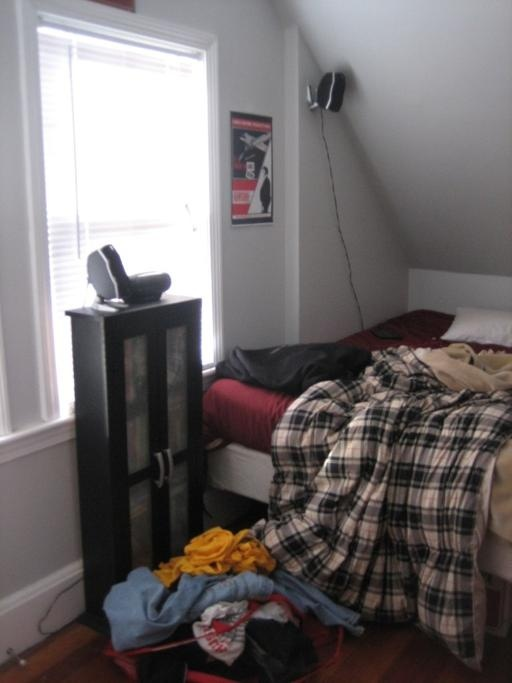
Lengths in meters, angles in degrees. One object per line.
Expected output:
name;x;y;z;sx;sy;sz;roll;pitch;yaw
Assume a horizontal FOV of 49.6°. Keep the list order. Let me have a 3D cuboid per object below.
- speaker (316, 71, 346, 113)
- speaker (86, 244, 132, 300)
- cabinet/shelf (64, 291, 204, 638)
speaker;0.334;-1.130;2.502;0.097;0.186;0.132;-8;35;-23
speaker;-0.441;-0.202;1.657;0.077;0.168;0.186;-11;15;-38
cabinet/shelf;-0.345;0.386;1.746;0.446;1.002;0.228;-6;12;-21
